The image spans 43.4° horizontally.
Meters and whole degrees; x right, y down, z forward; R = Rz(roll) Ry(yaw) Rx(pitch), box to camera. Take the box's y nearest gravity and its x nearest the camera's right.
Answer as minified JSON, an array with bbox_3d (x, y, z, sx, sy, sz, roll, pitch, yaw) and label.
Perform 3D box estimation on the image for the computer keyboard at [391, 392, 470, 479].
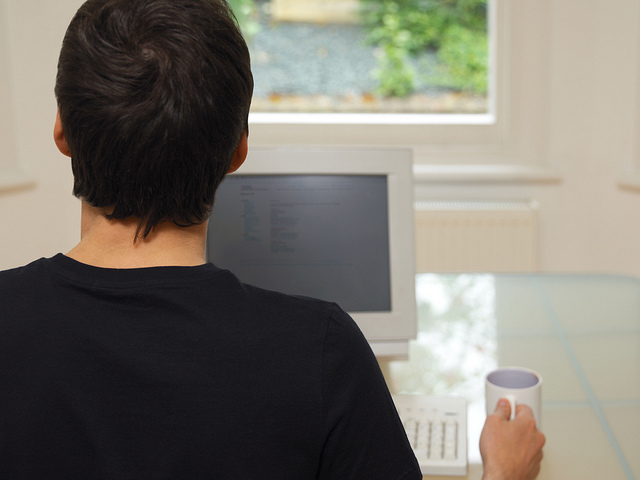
[{"bbox_3d":[0.202,0.387,1.649,0.156,0.037,0.149,0,38,6],"label":"computer keyboard"}]

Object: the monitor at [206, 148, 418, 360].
[{"bbox_3d":[-0.037,0.010,1.621,0.519,0.375,0.259,2,-2,-1],"label":"monitor"}]

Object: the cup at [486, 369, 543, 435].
[{"bbox_3d":[0.361,0.320,1.620,0.101,0.127,0.146,0,8,8],"label":"cup"}]
